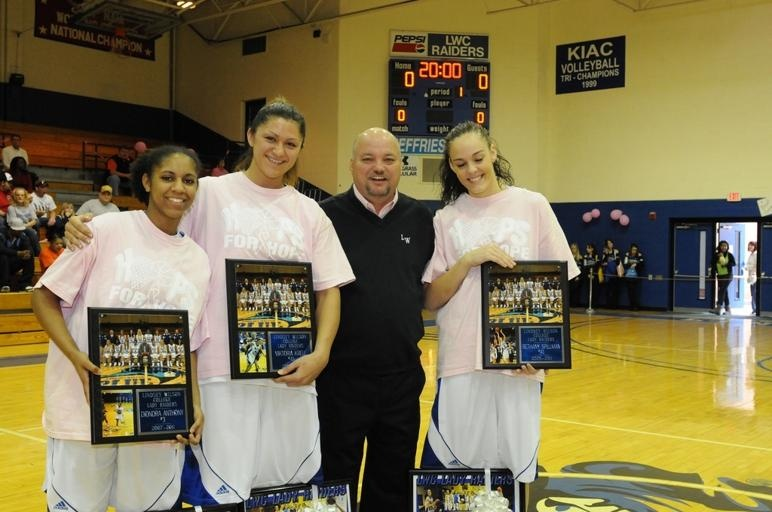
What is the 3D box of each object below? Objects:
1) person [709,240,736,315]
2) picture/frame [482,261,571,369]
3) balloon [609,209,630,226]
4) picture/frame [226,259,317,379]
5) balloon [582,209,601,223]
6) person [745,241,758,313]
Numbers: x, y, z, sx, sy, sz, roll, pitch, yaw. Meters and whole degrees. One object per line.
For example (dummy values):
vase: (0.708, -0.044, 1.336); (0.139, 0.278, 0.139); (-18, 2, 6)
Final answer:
person: (8.489, 0.578, 16.390); (0.544, 1.845, 0.621); (2, 3, 32)
picture/frame: (0.845, 0.384, 4.030); (0.647, 0.801, 0.059); (0, -7, -4)
balloon: (6.204, -0.980, 17.254); (0.499, 0.344, 0.222); (43, 13, 21)
picture/frame: (-0.696, 0.383, 3.750); (0.681, 0.914, 0.074); (0, -4, -17)
balloon: (5.534, -1.060, 17.622); (0.446, 0.265, 0.212); (-35, -35, 20)
person: (9.011, 0.570, 16.009); (0.272, 1.809, 0.705); (2, 3, 23)
